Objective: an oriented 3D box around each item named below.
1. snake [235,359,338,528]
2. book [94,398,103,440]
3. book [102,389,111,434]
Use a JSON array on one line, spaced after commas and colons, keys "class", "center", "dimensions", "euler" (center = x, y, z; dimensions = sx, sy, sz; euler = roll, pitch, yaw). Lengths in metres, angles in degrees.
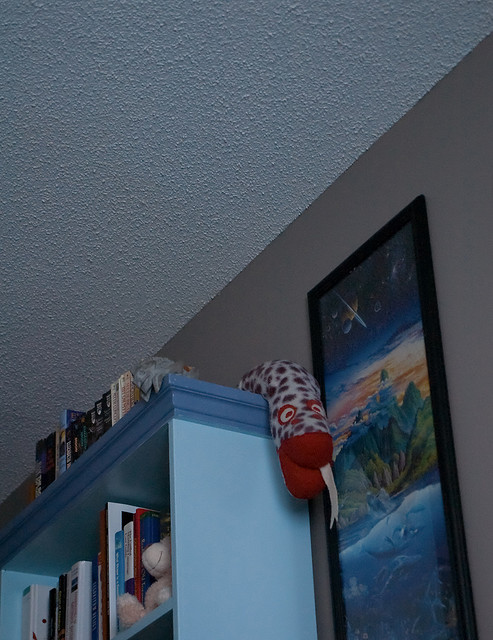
[{"class": "snake", "center": [0.076, 0.184, 1.239], "dimensions": [0.160, 0.229, 0.252], "euler": [5, -20, -24]}, {"class": "book", "center": [-0.347, 0.235, 1.675], "dimensions": [0.005, 0.099, 0.075], "euler": [10, -23, -28]}, {"class": "book", "center": [-0.319, 0.213, 1.631], "dimensions": [0.011, 0.099, 0.089], "euler": [3, -12, -21]}]
